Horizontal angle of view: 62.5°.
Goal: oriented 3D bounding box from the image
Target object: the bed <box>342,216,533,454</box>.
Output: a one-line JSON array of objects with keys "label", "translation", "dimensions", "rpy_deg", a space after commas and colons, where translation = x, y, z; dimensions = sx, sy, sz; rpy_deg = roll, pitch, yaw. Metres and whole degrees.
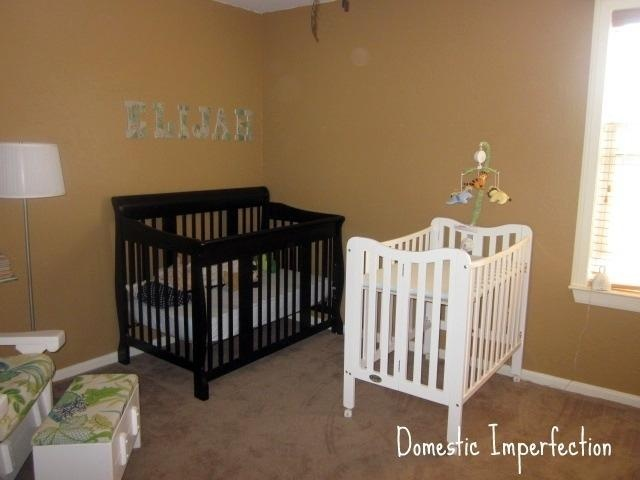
[{"label": "bed", "translation": [0.762, 0.457, 3.383], "dimensions": [0.941, 1.105, 1.220], "rpy_deg": [8, 15, 30]}]

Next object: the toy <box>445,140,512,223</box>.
[{"label": "toy", "translation": [1.097, -0.376, 3.610], "dimensions": [0.425, 0.567, 0.212], "rpy_deg": [4, 13, 15]}]

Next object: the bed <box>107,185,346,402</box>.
[{"label": "bed", "translation": [-0.647, 0.240, 3.947], "dimensions": [1.125, 1.171, 1.465], "rpy_deg": [10, 16, 34]}]
